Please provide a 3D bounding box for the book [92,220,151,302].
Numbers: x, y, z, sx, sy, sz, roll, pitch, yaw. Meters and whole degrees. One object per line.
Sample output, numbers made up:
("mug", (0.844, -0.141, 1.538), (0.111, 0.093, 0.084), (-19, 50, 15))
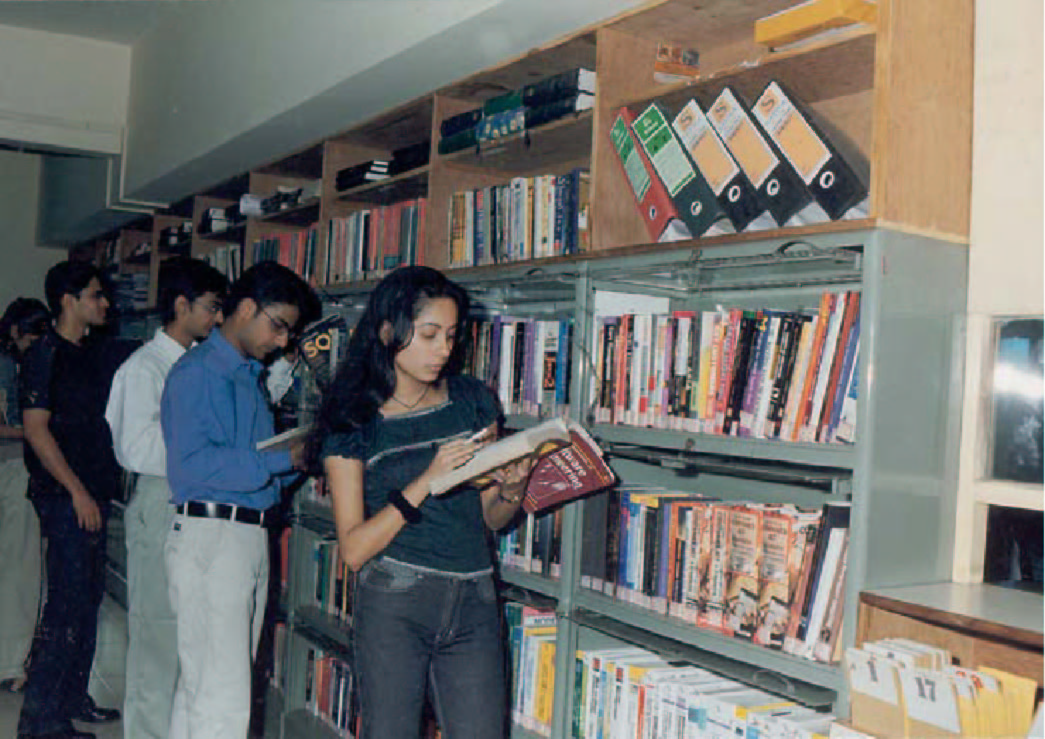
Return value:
("book", (-3.097, -0.843, 6.894), (0.278, 0.788, 0.789), (0, 1, -39))
